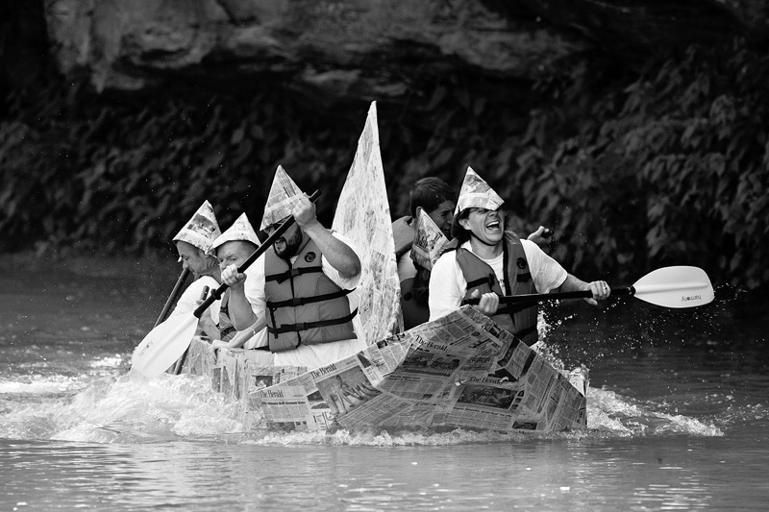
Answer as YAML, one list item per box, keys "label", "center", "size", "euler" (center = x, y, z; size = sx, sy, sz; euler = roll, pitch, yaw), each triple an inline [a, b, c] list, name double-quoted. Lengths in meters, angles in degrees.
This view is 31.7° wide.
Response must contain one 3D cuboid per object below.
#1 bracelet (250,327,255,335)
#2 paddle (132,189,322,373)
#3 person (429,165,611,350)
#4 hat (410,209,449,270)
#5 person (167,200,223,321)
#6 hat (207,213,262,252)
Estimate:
- label: "bracelet"
  center: [-1.036, 0.583, 10.575]
  size: [0.037, 0.056, 0.020]
  euler: [-1, 27, -7]
- label: "paddle"
  center: [-1.398, 0.256, 12.063]
  size: [2.459, 0.101, 0.442]
  euler: [-47, 66, 2]
- label: "person"
  center: [0.899, 0.155, 10.120]
  size: [1.283, 1.672, 0.896]
  euler: [-12, 8, -20]
- label: "hat"
  center: [0.362, -0.121, 10.716]
  size: [0.232, 0.330, 0.358]
  euler: [-16, 79, -38]
- label: "person"
  center: [-1.825, 0.074, 13.011]
  size: [0.490, 1.038, 1.257]
  euler: [3, -6, 1]
- label: "hat"
  center: [-1.183, -0.165, 11.005]
  size: [0.310, 0.307, 0.322]
  euler: [0, 61, 20]
